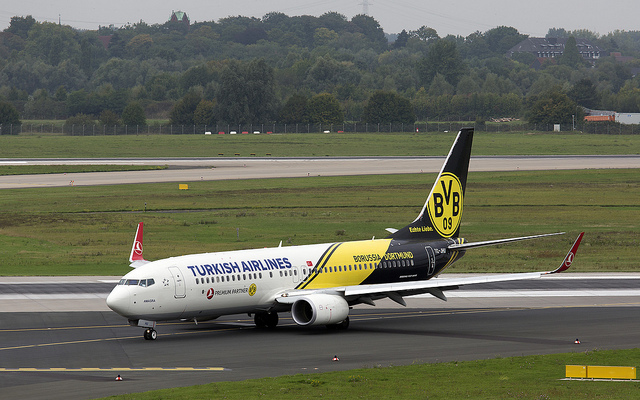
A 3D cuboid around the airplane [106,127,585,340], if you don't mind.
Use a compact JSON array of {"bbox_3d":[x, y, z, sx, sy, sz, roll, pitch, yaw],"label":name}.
[{"bbox_3d":[-1.026,3.577,142.523,39.934,25.812,8.621,2,6,-10],"label":"airplane"}]
